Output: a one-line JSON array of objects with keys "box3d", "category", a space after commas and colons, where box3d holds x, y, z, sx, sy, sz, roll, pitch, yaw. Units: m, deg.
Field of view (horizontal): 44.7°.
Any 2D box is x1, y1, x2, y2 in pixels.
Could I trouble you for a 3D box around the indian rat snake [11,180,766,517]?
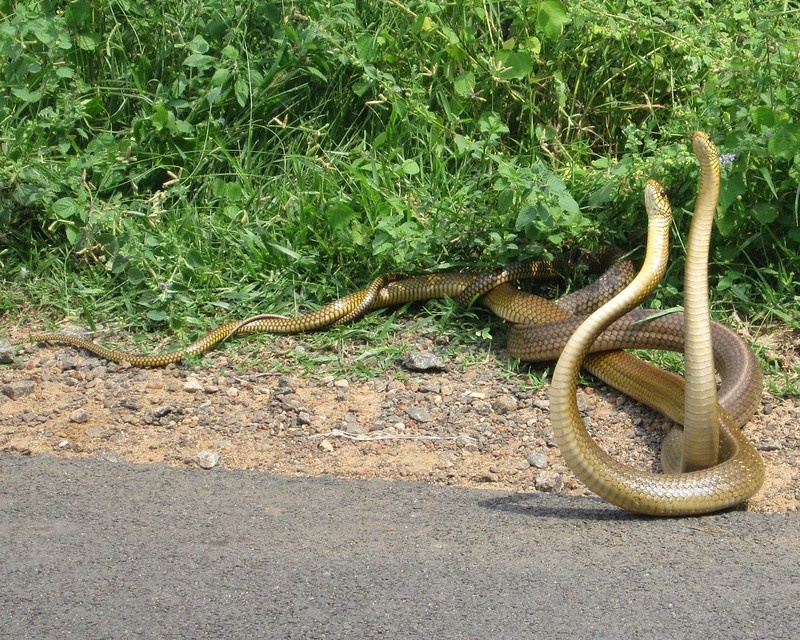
[{"box3d": [0.988, -0.223, 5.891, 1.974, 1.673, 3.145, -18, 30, -32], "category": "indian rat snake"}]
